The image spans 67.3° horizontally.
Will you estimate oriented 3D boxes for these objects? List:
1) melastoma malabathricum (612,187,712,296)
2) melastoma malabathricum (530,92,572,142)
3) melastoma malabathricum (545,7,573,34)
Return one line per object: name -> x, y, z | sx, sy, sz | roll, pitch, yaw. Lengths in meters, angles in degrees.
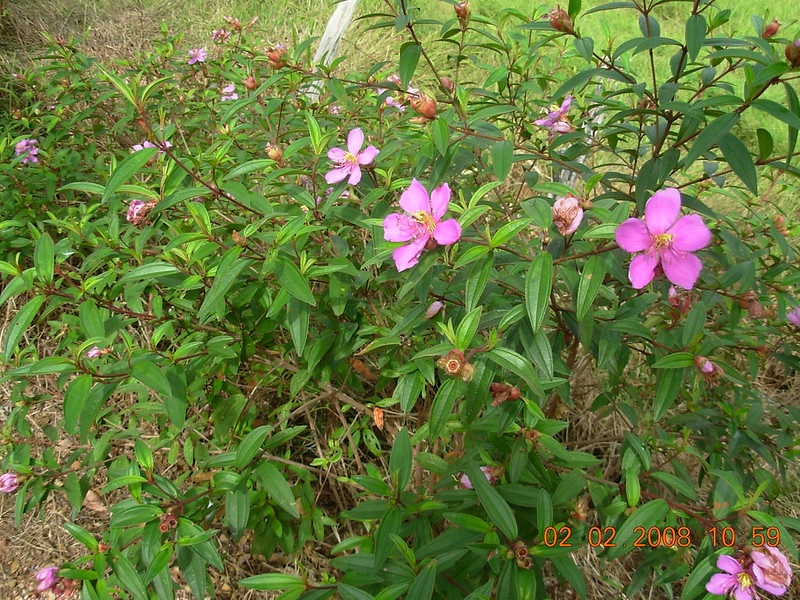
melastoma malabathricum -> 0.967, -0.200, 2.187 | 0.345, 0.296, 0.264 | -36, 54, -23
melastoma malabathricum -> 0.862, -0.984, 3.258 | 0.215, 0.229, 0.136 | 38, 21, 27
melastoma malabathricum -> 0.661, -1.161, 2.480 | 0.106, 0.110, 0.170 | 3, 49, 11
